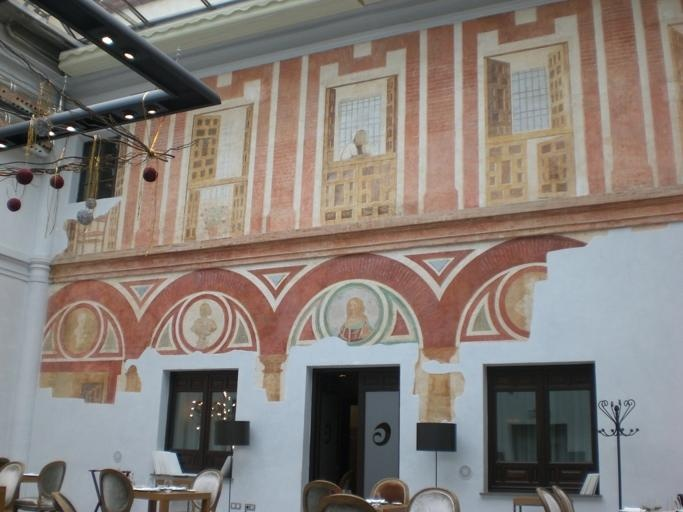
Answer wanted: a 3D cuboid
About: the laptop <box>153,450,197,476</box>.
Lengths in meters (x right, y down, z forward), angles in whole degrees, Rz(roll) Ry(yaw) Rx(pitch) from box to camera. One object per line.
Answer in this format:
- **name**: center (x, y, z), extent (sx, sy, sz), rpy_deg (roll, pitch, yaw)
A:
- **laptop**: center (-2.712, 3.408, 13.616), extent (0.514, 0.296, 0.503), rpy_deg (8, -17, -24)
